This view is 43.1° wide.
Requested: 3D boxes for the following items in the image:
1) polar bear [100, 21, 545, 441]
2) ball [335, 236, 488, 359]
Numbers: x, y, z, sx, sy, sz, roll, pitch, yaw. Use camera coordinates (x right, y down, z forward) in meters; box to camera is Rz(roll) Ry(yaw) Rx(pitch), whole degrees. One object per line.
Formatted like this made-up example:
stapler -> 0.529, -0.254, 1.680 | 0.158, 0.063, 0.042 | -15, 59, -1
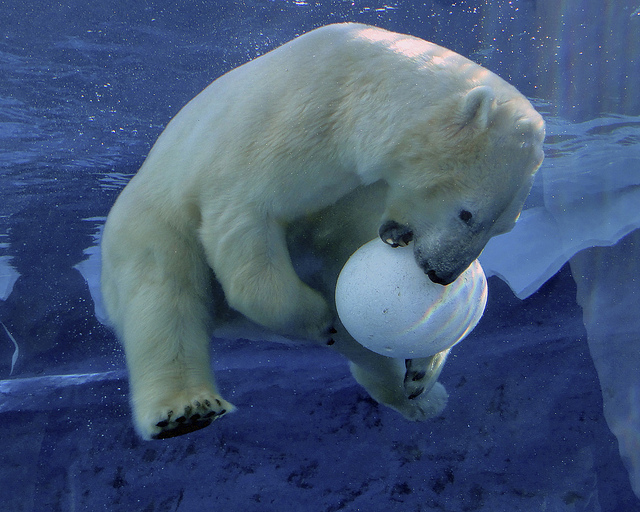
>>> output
polar bear -> -0.122, -0.162, 7.380 | 4.091, 2.651, 3.616 | -6, 77, 40
ball -> 0.680, 0.333, 6.840 | 1.080, 1.108, 0.922 | -13, 20, -41
